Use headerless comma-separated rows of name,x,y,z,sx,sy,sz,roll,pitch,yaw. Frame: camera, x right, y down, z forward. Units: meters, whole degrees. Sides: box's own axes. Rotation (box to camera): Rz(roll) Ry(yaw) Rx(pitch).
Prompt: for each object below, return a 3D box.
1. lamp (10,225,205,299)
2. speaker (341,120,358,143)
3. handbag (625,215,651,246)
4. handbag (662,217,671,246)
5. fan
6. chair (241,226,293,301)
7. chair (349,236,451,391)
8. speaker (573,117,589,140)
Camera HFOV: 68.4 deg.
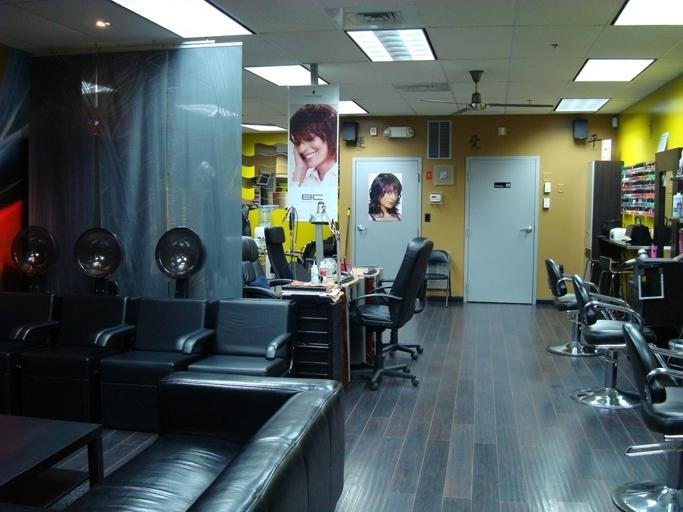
lamp,-2.052,0.032,4.421,1.848,0.606,0.186,2,9,13
speaker,0.155,-2.154,8.720,0.269,0.365,0.206,0,8,0
handbag,4.014,-0.358,6.837,0.254,0.356,0.351,0,1,13
handbag,3.791,-0.293,5.882,0.122,0.322,0.174,7,10,37
fan,2.003,-2.094,6.761,0.961,0.400,1.173,-1,1,4
chair,-0.901,0.121,5.311,0.649,0.840,0.564,2,1,16
chair,0.562,0.516,5.533,1.192,2.101,1.168,1,3,16
speaker,3.911,-2.051,8.158,0.267,0.368,0.157,1,8,6
